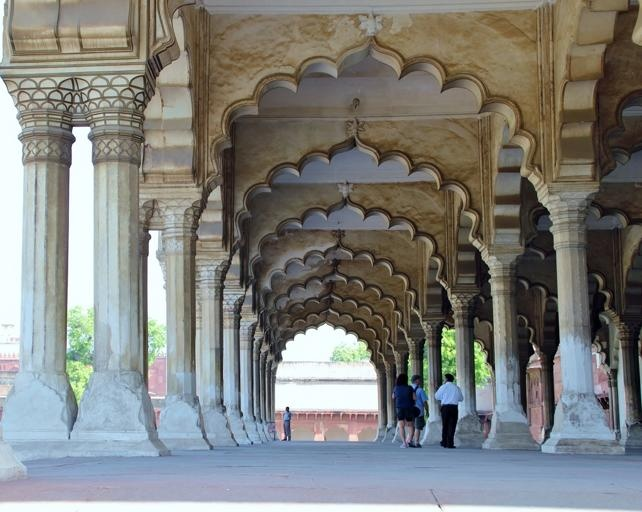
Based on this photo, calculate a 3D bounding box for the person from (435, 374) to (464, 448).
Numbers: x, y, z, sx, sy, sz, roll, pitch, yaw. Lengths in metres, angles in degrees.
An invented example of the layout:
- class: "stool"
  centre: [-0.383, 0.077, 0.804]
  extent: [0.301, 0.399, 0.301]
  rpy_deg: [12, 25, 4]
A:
- class: "person"
  centre: [2.158, 2.627, 19.437]
  extent: [0.435, 1.234, 0.765]
  rpy_deg: [-2, -8, 10]

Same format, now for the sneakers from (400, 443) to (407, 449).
- class: "sneakers"
  centre: [1.462, 3.406, 20.437]
  extent: [0.104, 0.094, 0.233]
  rpy_deg: [0, -10, 0]
